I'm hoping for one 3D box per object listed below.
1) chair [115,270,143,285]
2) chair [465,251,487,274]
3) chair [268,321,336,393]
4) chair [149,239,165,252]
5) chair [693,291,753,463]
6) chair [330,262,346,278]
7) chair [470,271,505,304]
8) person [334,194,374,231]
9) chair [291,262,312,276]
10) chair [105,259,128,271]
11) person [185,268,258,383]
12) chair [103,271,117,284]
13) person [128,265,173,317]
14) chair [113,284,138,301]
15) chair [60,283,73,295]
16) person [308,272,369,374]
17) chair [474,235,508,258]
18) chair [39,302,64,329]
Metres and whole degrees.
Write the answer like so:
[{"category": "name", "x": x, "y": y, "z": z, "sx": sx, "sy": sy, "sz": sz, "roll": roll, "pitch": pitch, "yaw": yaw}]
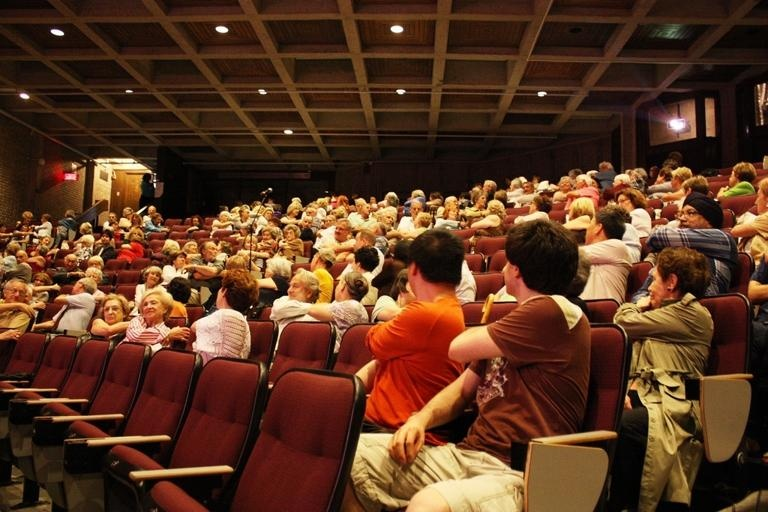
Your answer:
[{"category": "chair", "x": -3.947, "y": 0.328, "z": 7.773, "sx": 0.273, "sy": 0.296, "sz": 0.355, "roll": 4, "pitch": 13, "yaw": -1}, {"category": "chair", "x": 0.947, "y": 0.070, "z": 5.223, "sx": 0.187, "sy": 0.229, "sz": 0.214, "roll": -1, "pitch": -22, "yaw": 7}, {"category": "chair", "x": -0.456, "y": 0.643, "z": 3.199, "sx": 0.369, "sy": 0.495, "sz": 0.440, "roll": 1, "pitch": -17, "yaw": 27}, {"category": "chair", "x": -4.565, "y": -0.195, "z": 10.093, "sx": 0.272, "sy": 0.296, "sz": 0.273, "roll": 0, "pitch": -14, "yaw": -7}, {"category": "chair", "x": 1.650, "y": 0.613, "z": 2.432, "sx": 0.212, "sy": 0.854, "sz": 0.422, "roll": 0, "pitch": -3, "yaw": 35}, {"category": "chair", "x": -0.512, "y": 0.165, "z": 6.096, "sx": 0.180, "sy": 0.228, "sz": 0.180, "roll": 3, "pitch": -23, "yaw": -1}, {"category": "chair", "x": 0.899, "y": 0.269, "z": 4.330, "sx": 0.242, "sy": 0.275, "sz": 0.247, "roll": -1, "pitch": -16, "yaw": 11}, {"category": "person", "x": -0.525, "y": -0.764, "z": 9.338, "sx": 0.748, "sy": 0.397, "sz": 0.946, "roll": 18, "pitch": -14, "yaw": -6}, {"category": "chair", "x": -1.068, "y": 0.208, "z": 6.550, "sx": 0.282, "sy": 0.195, "sz": 0.272, "roll": 1, "pitch": -7, "yaw": -1}, {"category": "chair", "x": -4.683, "y": 0.166, "z": 8.821, "sx": 0.269, "sy": 0.253, "sz": 0.319, "roll": 1, "pitch": -9, "yaw": 0}, {"category": "person", "x": -1.081, "y": 0.426, "z": 3.271, "sx": 0.481, "sy": 0.686, "sz": 0.415, "roll": -1, "pitch": -7, "yaw": 37}, {"category": "chair", "x": -4.340, "y": 0.348, "z": 7.952, "sx": 0.164, "sy": 0.198, "sz": 0.175, "roll": 0, "pitch": -17, "yaw": -6}, {"category": "person", "x": -2.440, "y": 0.366, "z": 5.258, "sx": 0.350, "sy": 0.695, "sz": 0.444, "roll": -2, "pitch": -49, "yaw": -14}, {"category": "chair", "x": -3.282, "y": 0.468, "z": 6.395, "sx": 0.194, "sy": 0.234, "sz": 0.199, "roll": 4, "pitch": -19, "yaw": -12}, {"category": "chair", "x": -4.657, "y": 0.491, "z": 7.373, "sx": 0.111, "sy": 0.136, "sz": 0.122, "roll": 0, "pitch": -14, "yaw": 8}, {"category": "person", "x": -0.373, "y": 0.476, "z": 3.664, "sx": 0.443, "sy": 0.743, "sz": 0.449, "roll": 8, "pitch": 3, "yaw": -42}, {"category": "chair", "x": 1.234, "y": -0.124, "z": 5.817, "sx": 0.259, "sy": 0.308, "sz": 0.285, "roll": -2, "pitch": -15, "yaw": 9}, {"category": "chair", "x": -3.925, "y": 0.708, "z": 5.941, "sx": 0.186, "sy": 0.231, "sz": 0.218, "roll": 5, "pitch": -33, "yaw": 11}]
